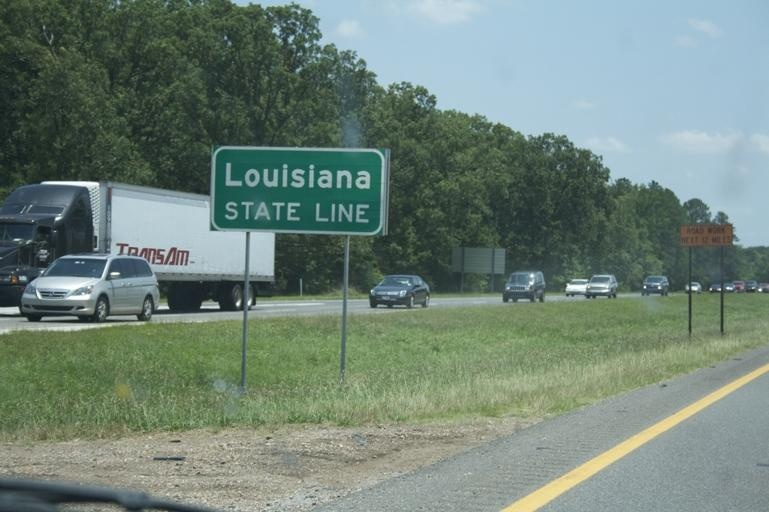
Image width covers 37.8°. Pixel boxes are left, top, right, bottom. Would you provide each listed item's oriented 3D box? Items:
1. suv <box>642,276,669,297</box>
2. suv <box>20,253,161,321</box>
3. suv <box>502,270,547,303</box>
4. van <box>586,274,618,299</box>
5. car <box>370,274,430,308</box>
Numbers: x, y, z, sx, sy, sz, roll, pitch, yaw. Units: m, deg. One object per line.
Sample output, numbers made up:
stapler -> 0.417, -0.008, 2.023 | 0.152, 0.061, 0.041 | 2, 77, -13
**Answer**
suv -> 21.273, 2.313, 88.076 | 1.355, 1.172, 2.681 | -2, -9, 16
suv -> -10.184, 1.084, 39.501 | 1.941, 2.563, 4.571 | -6, -9, 41
suv -> 8.298, 1.818, 66.881 | 2.280, 2.176, 3.887 | -1, -8, 7
van -> 14.892, 2.105, 77.480 | 1.762, 1.907, 3.466 | -2, -8, 17
car -> 0.704, 1.704, 54.982 | 1.847, 1.859, 3.523 | -4, -8, 27
